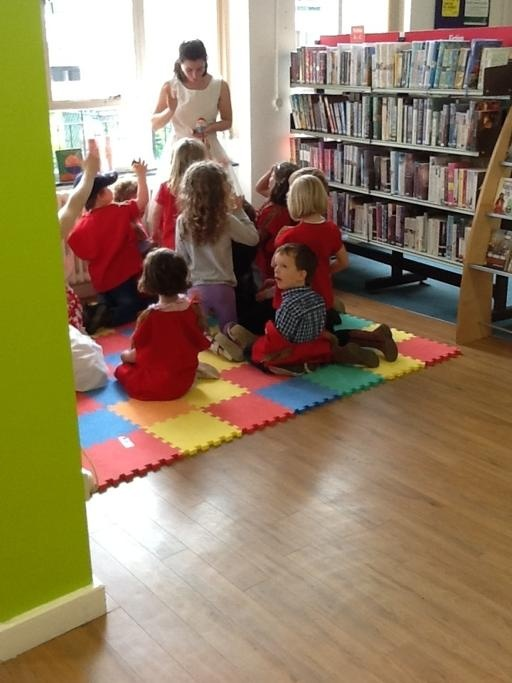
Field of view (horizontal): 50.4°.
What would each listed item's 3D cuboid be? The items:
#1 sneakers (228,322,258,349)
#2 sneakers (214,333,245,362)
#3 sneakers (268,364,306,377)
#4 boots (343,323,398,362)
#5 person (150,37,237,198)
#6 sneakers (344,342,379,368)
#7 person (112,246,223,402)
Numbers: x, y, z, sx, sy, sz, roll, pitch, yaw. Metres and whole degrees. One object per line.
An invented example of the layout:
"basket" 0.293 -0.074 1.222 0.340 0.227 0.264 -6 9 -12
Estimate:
"sneakers" -0.074 -0.038 3.059 0.099 0.038 0.163 -34 65 -30
"sneakers" -0.164 0.040 3.051 0.095 0.220 0.092 -44 4 13
"sneakers" 0.164 0.152 2.827 0.117 0.035 0.082 4 7 -12
"boots" 0.650 -0.001 2.984 0.136 0.385 0.160 -11 65 0
"person" -0.456 -1.616 4.509 0.730 1.509 0.623 -8 39 -7
"sneakers" 0.565 0.080 2.876 0.205 0.096 0.077 10 1 -17
"person" -0.453 -0.097 2.776 0.543 0.707 0.457 -3 11 -16
